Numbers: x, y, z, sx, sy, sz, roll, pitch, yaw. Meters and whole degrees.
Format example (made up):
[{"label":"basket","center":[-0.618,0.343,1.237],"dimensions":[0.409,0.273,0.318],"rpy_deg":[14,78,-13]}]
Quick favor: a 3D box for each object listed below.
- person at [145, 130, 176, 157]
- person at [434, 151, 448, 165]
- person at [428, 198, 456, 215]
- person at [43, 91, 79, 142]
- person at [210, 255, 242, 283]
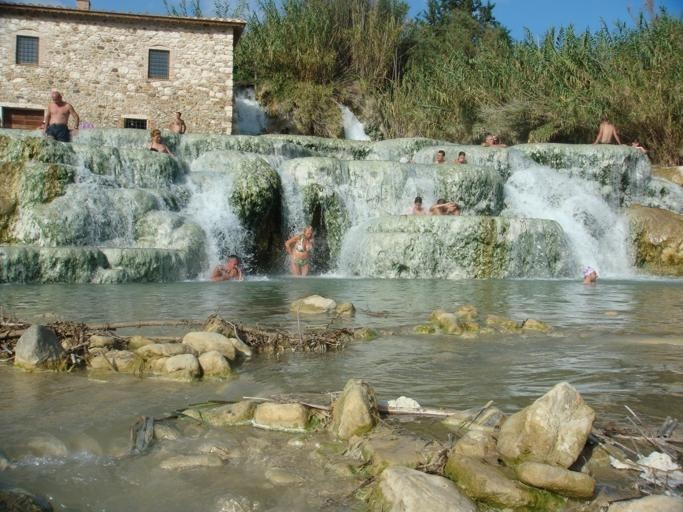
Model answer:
[{"label":"person","center":[-4.550,-2.858,19.392],"dimensions":[0.562,0.769,1.960],"rpy_deg":[1,1,-14]},{"label":"person","center":[2.784,-2.829,21.786],"dimensions":[0.289,0.416,0.916],"rpy_deg":[1,1,8]},{"label":"person","center":[2.510,-1.216,18.662],"dimensions":[0.608,0.380,0.846],"rpy_deg":[0,1,-26]},{"label":"person","center":[-6.666,-3.035,18.339],"dimensions":[0.841,1.744,0.639],"rpy_deg":[-2,12,-19]},{"label":"person","center":[-2.312,0.211,15.484],"dimensions":[0.611,0.479,0.767],"rpy_deg":[1,1,-10]}]
